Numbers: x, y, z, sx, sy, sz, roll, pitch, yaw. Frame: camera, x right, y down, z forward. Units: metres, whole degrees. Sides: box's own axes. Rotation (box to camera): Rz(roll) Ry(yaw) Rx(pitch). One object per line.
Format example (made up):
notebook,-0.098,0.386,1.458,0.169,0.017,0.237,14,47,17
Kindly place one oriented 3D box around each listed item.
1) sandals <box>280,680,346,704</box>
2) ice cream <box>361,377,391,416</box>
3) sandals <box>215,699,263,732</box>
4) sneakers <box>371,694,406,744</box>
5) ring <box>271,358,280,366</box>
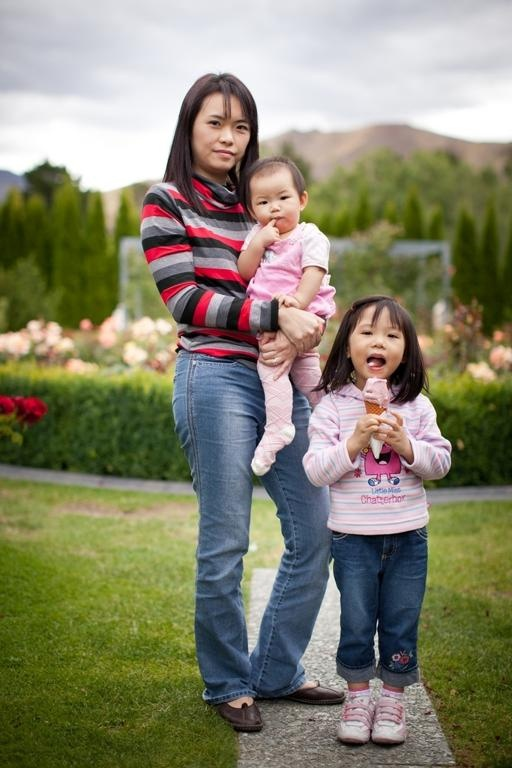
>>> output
sandals,0.181,0.951,2.511,0.179,0.053,0.068,0,1,2
ice cream,0.325,0.036,2.201,0.047,0.044,0.099,-22,-32,-5
sandals,-0.048,0.942,2.308,0.061,0.057,0.148,5,-9,-32
sneakers,0.369,0.933,2.223,0.062,0.064,0.175,-1,-7,7
ring,0.056,-0.063,2.299,0.017,0.020,0.022,3,-4,-3
